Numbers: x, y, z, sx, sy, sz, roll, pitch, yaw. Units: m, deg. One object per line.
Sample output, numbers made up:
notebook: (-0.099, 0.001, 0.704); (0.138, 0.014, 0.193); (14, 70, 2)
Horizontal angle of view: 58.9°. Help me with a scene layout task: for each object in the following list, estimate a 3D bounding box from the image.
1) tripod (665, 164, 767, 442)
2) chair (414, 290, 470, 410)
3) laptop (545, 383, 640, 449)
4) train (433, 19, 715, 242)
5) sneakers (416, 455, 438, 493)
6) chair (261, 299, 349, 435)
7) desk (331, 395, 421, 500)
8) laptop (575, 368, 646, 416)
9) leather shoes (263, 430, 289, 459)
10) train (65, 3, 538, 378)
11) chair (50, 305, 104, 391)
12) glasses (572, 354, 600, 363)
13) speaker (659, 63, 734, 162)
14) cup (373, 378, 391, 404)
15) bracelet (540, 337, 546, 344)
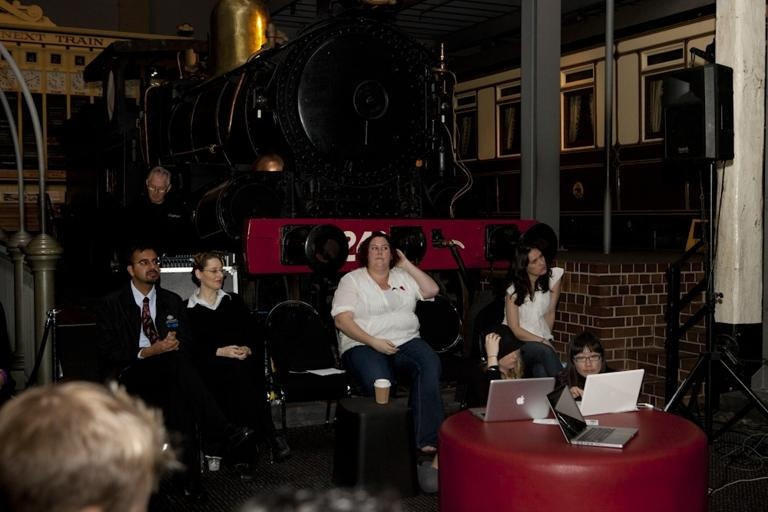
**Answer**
tripod: (2.495, 0.349, 5.107); (0.653, 2.075, 1.243); (1, 6, 23)
chair: (0.464, 0.798, 5.275); (0.513, 0.762, 0.569); (4, 23, 23)
laptop: (1.064, 0.819, 3.453); (0.203, 0.316, 0.335); (-32, -28, 35)
train: (2.660, -1.603, 8.878); (1.272, 2.316, 4.253); (1, -1, -33)
sneakers: (0.274, 1.386, 4.301); (0.164, 0.068, 0.286); (1, 27, -3)
chair: (-0.630, 0.862, 5.133); (0.595, 0.914, 0.689); (-6, 7, -31)
desk: (-0.065, 1.183, 4.176); (0.550, 0.553, 0.367); (-2, 5, 1)
laptop: (1.281, 0.759, 3.869); (0.384, 0.259, 0.264); (-4, 25, -14)
leather shoes: (-0.752, 1.307, 4.746); (0.131, 0.223, 0.081); (-21, -14, -28)
train: (-1.114, -0.767, 7.066); (2.548, 2.652, 4.267); (-3, 2, -30)
chair: (-3.424, 1.064, 7.691); (0.625, 1.140, 0.769); (-3, -21, -27)
glasses: (1.302, 0.645, 4.300); (0.157, 0.060, 0.029); (0, 6, 14)
speaker: (2.447, -1.084, 5.247); (0.501, 0.725, 0.256); (1, 6, 22)
cup: (-0.020, 0.863, 4.296); (0.128, 0.131, 0.128); (1, -8, 0)
bracelet: (1.203, 0.634, 5.076); (0.035, 0.009, 0.033); (28, 18, -39)
